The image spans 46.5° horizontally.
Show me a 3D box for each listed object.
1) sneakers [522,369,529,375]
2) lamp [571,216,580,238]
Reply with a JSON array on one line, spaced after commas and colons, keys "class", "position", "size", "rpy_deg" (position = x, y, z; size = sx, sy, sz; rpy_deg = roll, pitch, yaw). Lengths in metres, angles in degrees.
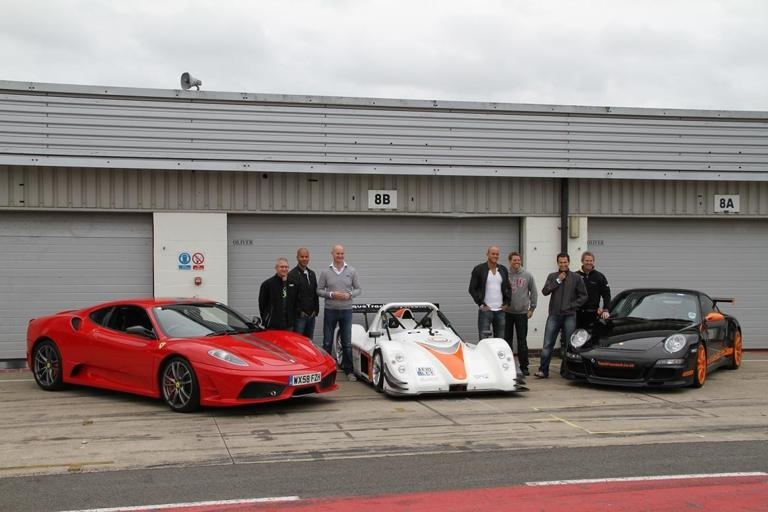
[{"class": "sneakers", "position": [2.693, 2.208, 16.924], "size": [0.077, 0.086, 0.213], "rpy_deg": [-2, -10, 0]}, {"class": "lamp", "position": [4.189, -0.610, 19.539], "size": [0.257, 0.475, 0.145], "rpy_deg": [0, 1, -8]}]
